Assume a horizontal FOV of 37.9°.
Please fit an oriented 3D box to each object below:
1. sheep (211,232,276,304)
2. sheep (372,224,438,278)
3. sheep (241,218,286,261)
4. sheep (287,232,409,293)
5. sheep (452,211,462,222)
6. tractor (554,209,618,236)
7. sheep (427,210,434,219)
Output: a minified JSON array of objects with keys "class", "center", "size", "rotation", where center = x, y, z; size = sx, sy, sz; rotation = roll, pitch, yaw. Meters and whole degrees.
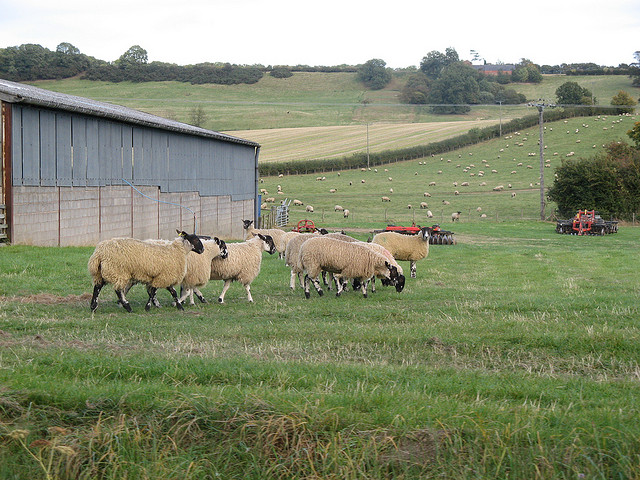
[{"class":"sheep","center":[-2.955,0.820,31.535],"size":[1.886,2.261,1.802],"rotation":[14,10,-28]},{"class":"sheep","center":[3.443,0.352,36.573],"size":[3.173,2.235,1.181],"rotation":[0,5,-9]},{"class":"sheep","center":[-2.245,-0.141,40.780],"size":[2.873,1.872,1.105],"rotation":[5,1,6]},{"class":"sheep","center":[1.164,0.976,33.288],"size":[4.148,2.140,1.237],"rotation":[5,17,37]},{"class":"sheep","center":[10.241,-1.792,69.497],"size":[0.997,0.692,0.437],"rotation":[-15,23,-42]},{"class":"tractor","center":[17.460,-0.973,60.464],"size":[3.932,1.700,2.090],"rotation":[0,6,12]},{"class":"sheep","center":[8.465,-1.930,71.620],"size":[0.314,0.583,1.159],"rotation":[5,13,18]}]
